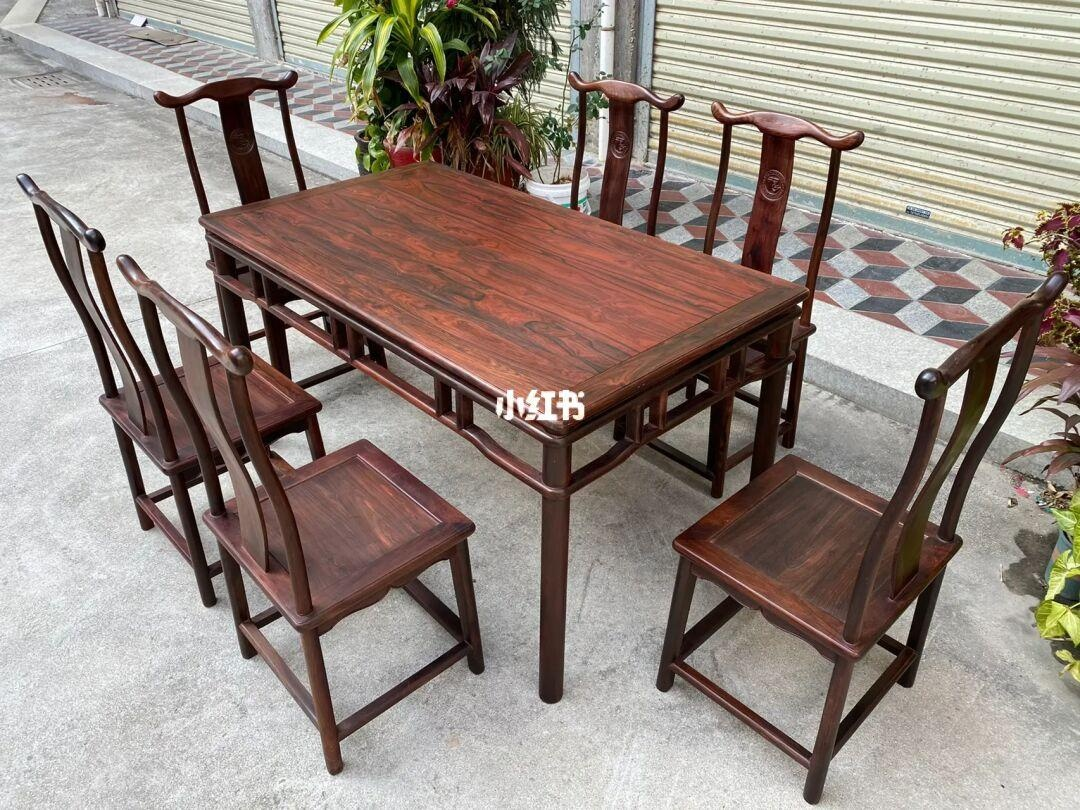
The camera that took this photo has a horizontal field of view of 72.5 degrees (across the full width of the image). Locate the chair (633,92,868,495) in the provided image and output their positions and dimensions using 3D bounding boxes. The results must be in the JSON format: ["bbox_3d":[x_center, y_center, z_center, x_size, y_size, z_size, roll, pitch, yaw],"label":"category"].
[{"bbox_3d":[0.879,-0.517,2.623,0.803,1.262,0.768,11,-2,27],"label":"chair"}]

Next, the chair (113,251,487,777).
[{"bbox_3d":[-0.792,0.401,2.409,0.807,1.748,0.848,-34,58,-27],"label":"chair"}]

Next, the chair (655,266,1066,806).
[{"bbox_3d":[1.042,0.482,2.411,0.926,1.844,0.809,-33,53,-26],"label":"chair"}]

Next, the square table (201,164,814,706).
[{"bbox_3d":[-0.330,-0.281,3.092,1.965,0.946,1.099,29,48,35],"label":"square table"}]
